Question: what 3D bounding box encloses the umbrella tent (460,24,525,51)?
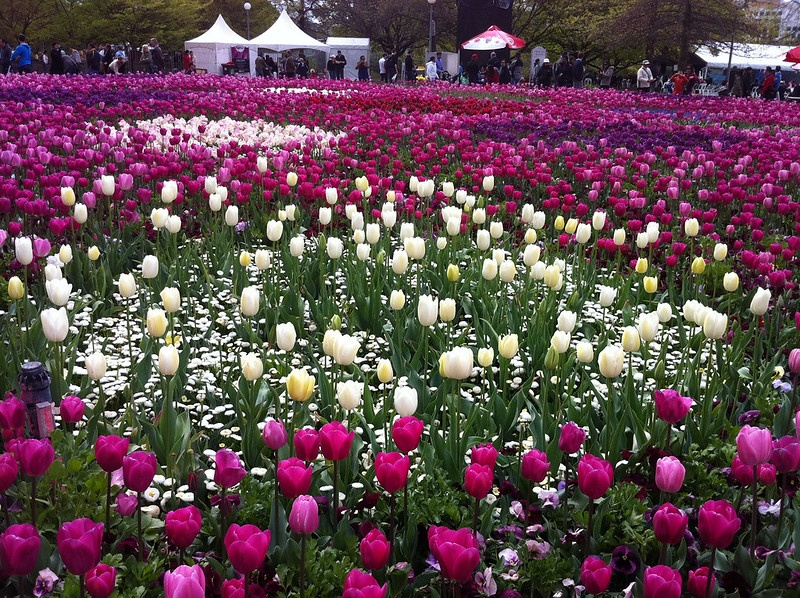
[{"bbox_3d":[5.026,-13.772,39.442,2.633,1.254,3.948,5,16,12],"label":"umbrella tent"}]
